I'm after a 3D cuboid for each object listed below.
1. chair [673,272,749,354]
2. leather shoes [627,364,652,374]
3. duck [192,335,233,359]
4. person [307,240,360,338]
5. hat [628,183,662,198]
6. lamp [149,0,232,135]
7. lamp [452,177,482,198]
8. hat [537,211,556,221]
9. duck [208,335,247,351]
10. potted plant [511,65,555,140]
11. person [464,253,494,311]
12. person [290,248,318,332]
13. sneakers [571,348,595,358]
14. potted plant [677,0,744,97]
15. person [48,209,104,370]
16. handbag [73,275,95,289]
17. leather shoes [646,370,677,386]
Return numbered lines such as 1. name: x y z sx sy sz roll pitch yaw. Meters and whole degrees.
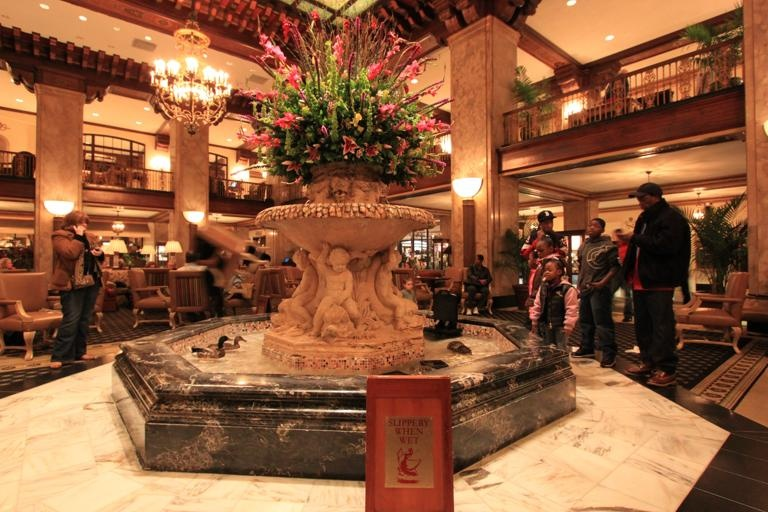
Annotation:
1. chair: 5.555 0.896 8.466 1.408 1.646 1.314 0 -3 27
2. leather shoes: 3.203 1.438 6.422 0.335 0.132 0.116 2 -6 9
3. duck: -2.054 1.066 6.034 0.487 0.205 0.544 -1 1 7
4. person: -0.539 0.389 5.563 0.519 1.004 0.256 -1 2 -6
5. hat: 3.225 -0.802 6.205 0.428 0.208 0.288 4 3 17
6. lamp: -3.801 -3.514 9.766 1.183 2.520 1.227 -1 2 10
7. lamp: 1.903 -1.593 11.757 0.735 0.548 0.567 1 2 44
8. hat: 2.347 -0.594 7.349 0.242 0.165 0.305 -4 -7 3
9. duck: -1.906 1.074 6.244 0.539 0.207 0.172 2 -3 4
10. potted plant: 3.418 -3.660 11.762 0.946 2.063 1.623 0 2 15
11. person: 2.016 0.599 11.082 0.589 1.242 0.462 0 3 27
12. person: -0.972 0.399 5.924 0.366 0.914 0.310 10 7 12
13. sneakers: 2.767 1.351 7.073 0.349 0.142 0.130 2 -8 7
14. potted plant: 6.059 -3.724 9.277 0.834 1.511 1.016 0 2 31
15. person: -4.256 0.434 6.957 0.660 2.111 0.483 -3 3 -42
16. handbag: -4.067 0.342 6.864 0.107 0.179 0.259 0 2 23
17. leather shoes: 3.317 1.499 6.127 0.421 0.187 0.150 4 -9 -9
